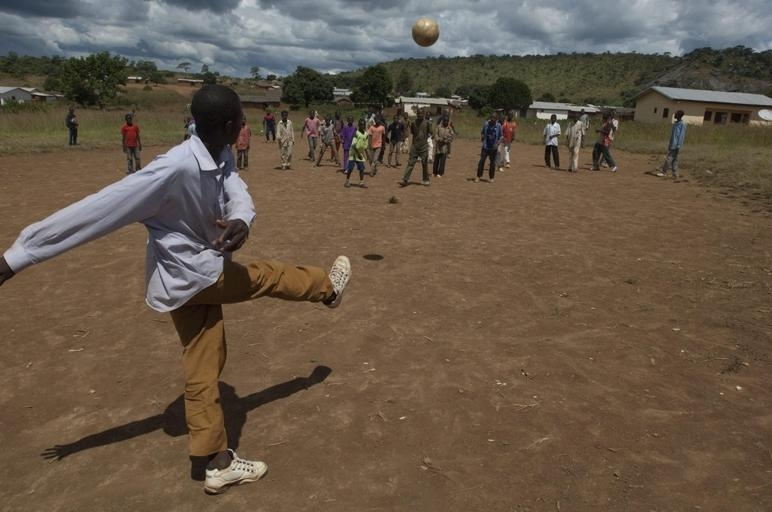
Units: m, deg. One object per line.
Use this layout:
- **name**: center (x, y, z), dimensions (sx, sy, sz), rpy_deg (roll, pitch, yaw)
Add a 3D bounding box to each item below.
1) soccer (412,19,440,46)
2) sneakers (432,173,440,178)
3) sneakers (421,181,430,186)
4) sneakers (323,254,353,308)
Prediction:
- **soccer**: center (0.881, -4.948, 11.971), dimensions (0.504, 0.568, 0.782), rpy_deg (3, 19, -1)
- **sneakers**: center (1.626, -2.572, 17.269), dimensions (0.222, 0.086, 0.523), rpy_deg (4, 18, 5)
- **sneakers**: center (1.129, -2.068, 15.371), dimensions (0.156, 0.140, 0.346), rpy_deg (-2, 8, 0)
- **sneakers**: center (-0.474, 0.207, 4.989), dimensions (0.202, 0.533, 0.241), rpy_deg (12, -13, 18)
